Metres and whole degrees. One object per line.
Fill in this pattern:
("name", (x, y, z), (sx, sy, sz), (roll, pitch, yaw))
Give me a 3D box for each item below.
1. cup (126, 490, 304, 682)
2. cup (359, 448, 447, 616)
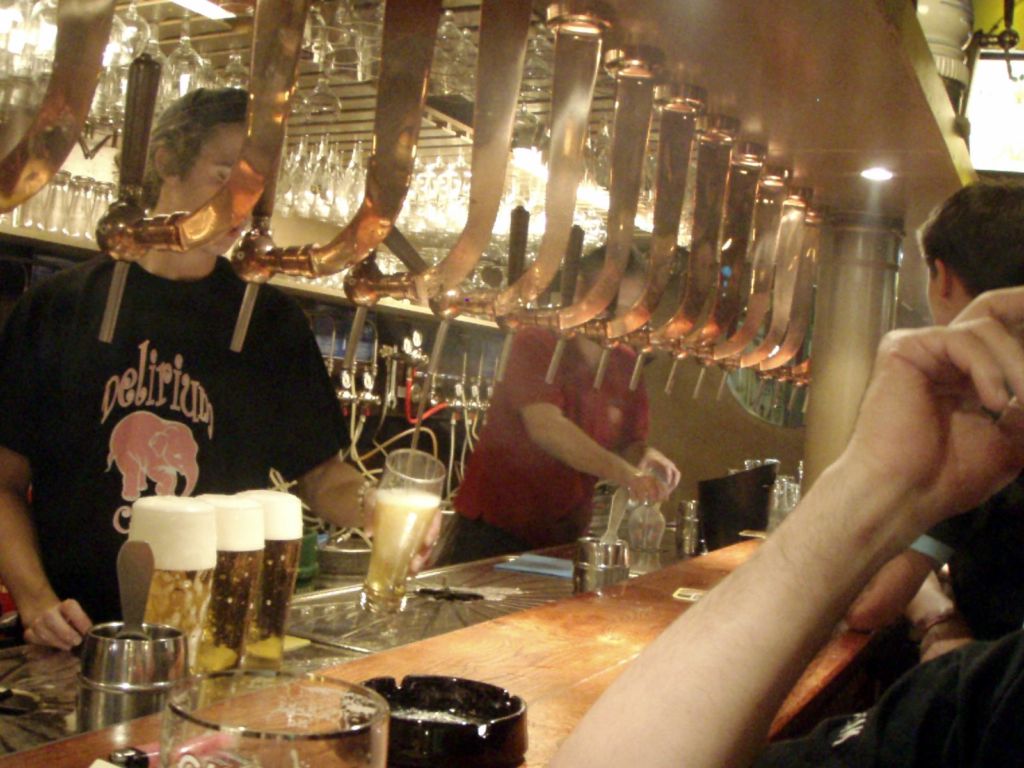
("cup", (-0.438, 0.292, 1.231), (0.182, 0.264, 0.336), (4, 2, 3))
("cup", (-0.204, 0.284, 1.671), (0.144, 0.310, 0.128), (4, 3, -12))
